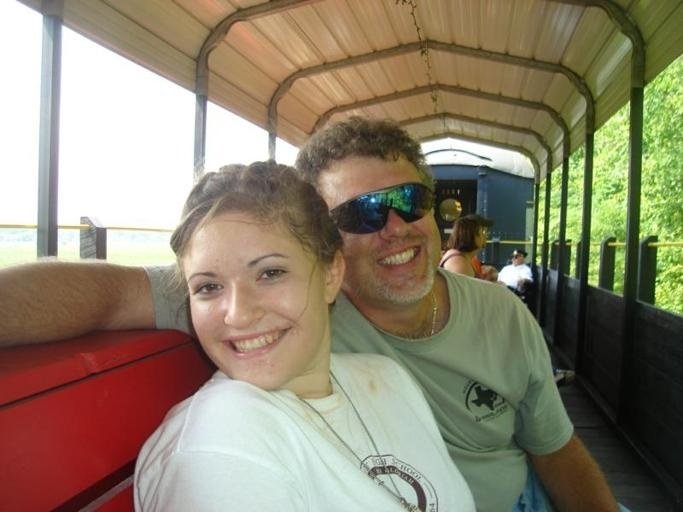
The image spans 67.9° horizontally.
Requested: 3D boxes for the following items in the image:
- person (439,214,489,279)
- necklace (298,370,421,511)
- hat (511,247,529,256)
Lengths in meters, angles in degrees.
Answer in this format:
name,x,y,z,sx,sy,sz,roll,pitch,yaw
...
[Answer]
name,x,y,z,sx,sy,sz,roll,pitch,yaw
person,1.496,-0.040,6.038,0.488,0.887,0.820,3,-1,21
necklace,-0.002,0.758,2.037,0.235,0.804,0.062,-28,-12,-49
hat,5.752,-0.164,16.408,0.327,0.178,0.475,2,2,39
